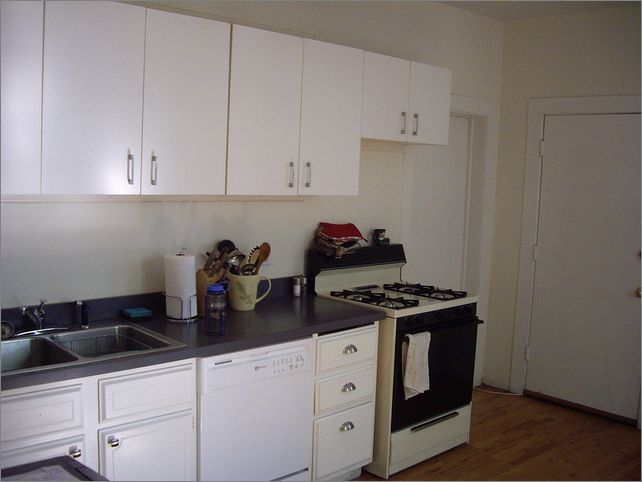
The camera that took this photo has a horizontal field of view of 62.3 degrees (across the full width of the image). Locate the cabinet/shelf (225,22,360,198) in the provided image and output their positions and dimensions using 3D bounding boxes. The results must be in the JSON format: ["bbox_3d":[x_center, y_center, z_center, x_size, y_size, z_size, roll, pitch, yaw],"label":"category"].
[{"bbox_3d":[-0.186,-0.743,3.385,0.896,0.894,0.343,-2,12,-25],"label":"cabinet/shelf"}]

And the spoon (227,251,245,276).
[{"bbox_3d":[-0.535,0.135,3.327,0.075,0.155,0.088,8,3,32],"label":"spoon"}]

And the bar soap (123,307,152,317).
[{"bbox_3d":[-1.061,0.414,3.066,0.131,0.037,0.142,-6,12,-39],"label":"bar soap"}]

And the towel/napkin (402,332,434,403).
[{"bbox_3d":[0.646,0.830,3.447,0.249,0.453,0.117,-3,10,-27],"label":"towel/napkin"}]

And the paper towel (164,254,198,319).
[{"bbox_3d":[-0.822,0.271,3.120,0.198,0.389,0.211,4,11,11],"label":"paper towel"}]

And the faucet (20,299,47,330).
[{"bbox_3d":[-1.516,0.394,2.823,0.102,0.160,0.116,9,12,40],"label":"faucet"}]

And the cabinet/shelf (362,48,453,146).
[{"bbox_3d":[0.543,-0.965,3.860,0.717,0.530,0.408,0,3,-26],"label":"cabinet/shelf"}]

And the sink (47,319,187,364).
[{"bbox_3d":[-1.048,0.543,2.800,0.360,0.126,0.304,10,10,40],"label":"sink"}]

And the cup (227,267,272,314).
[{"bbox_3d":[-0.464,0.319,3.361,0.233,0.231,0.110,-3,10,-27],"label":"cup"}]

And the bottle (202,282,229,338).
[{"bbox_3d":[-0.582,0.371,2.912,0.114,0.250,0.185,-1,9,-14],"label":"bottle"}]

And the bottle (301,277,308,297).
[{"bbox_3d":[-0.117,0.320,3.776,0.029,0.134,0.109,4,9,15],"label":"bottle"}]

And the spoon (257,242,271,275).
[{"bbox_3d":[-0.372,0.100,3.465,0.048,0.250,0.035,17,-23,-10],"label":"spoon"}]

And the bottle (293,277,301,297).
[{"bbox_3d":[-0.165,0.325,3.720,0.060,0.130,0.041,-1,9,-16],"label":"bottle"}]
